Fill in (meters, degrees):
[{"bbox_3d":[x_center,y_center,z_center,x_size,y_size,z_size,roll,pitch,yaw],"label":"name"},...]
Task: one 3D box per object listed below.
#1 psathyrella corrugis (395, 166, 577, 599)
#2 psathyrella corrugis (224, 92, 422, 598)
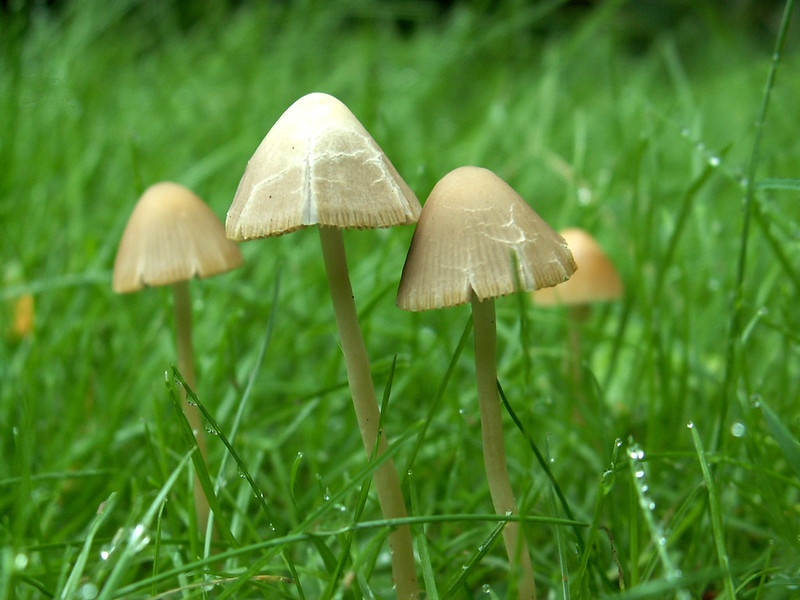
[{"bbox_3d":[0.211,0.190,2.170,0.367,0.980,0.411,9,26,34],"label":"psathyrella corrugis"},{"bbox_3d":[-0.118,0.105,2.198,0.499,1.188,0.348,11,27,37],"label":"psathyrella corrugis"}]
